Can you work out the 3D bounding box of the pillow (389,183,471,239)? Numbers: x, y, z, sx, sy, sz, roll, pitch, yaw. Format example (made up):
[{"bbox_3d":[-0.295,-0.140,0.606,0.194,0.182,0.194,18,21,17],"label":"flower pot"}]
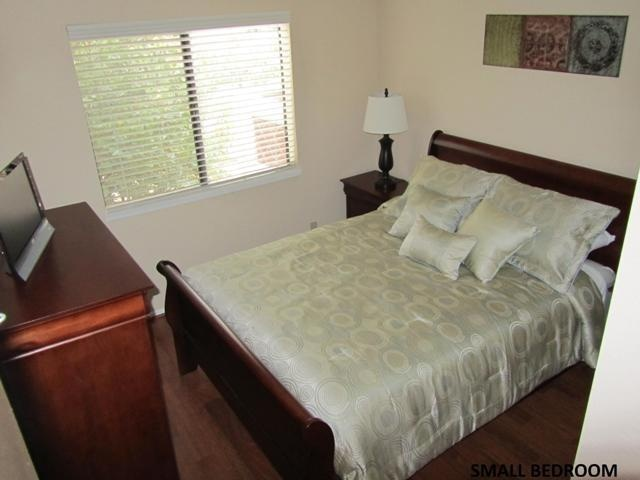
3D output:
[{"bbox_3d":[0.852,-0.207,3.676,0.457,0.139,0.437,25,81,53],"label":"pillow"}]
